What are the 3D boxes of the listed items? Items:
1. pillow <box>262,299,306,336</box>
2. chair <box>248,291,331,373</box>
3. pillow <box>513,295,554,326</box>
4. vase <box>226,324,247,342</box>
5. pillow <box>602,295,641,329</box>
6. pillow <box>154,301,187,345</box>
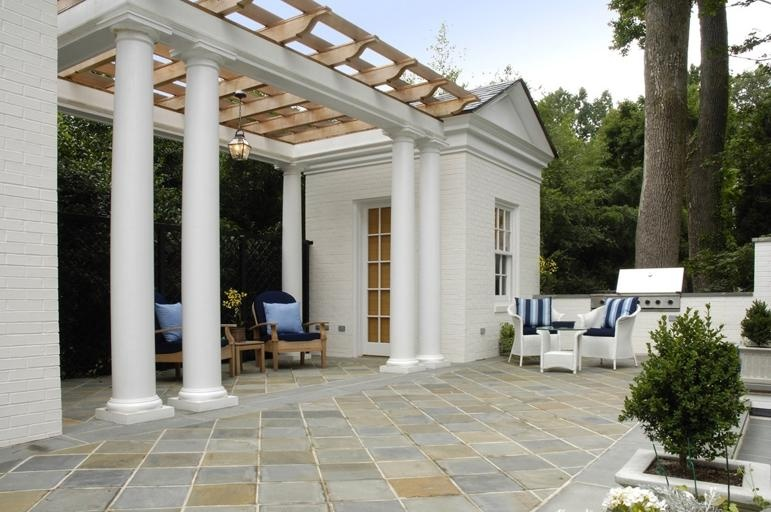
[{"bbox_3d":[-1.664,0.983,8.730,0.874,0.497,0.264,1,-33,-20],"label":"pillow"},{"bbox_3d":[-1.595,1.131,8.670,1.016,0.900,1.087,0,5,-32],"label":"chair"},{"bbox_3d":[2.505,0.944,9.196,0.691,0.447,0.172,-3,-4,-18],"label":"pillow"},{"bbox_3d":[-2.326,1.182,8.480,0.346,0.160,0.280,1,-8,-6],"label":"vase"},{"bbox_3d":[3.876,0.920,8.978,0.432,0.516,0.784,14,-13,-33],"label":"pillow"},{"bbox_3d":[-3.035,0.924,7.614,0.336,0.517,0.578,0,0,-22],"label":"pillow"}]
